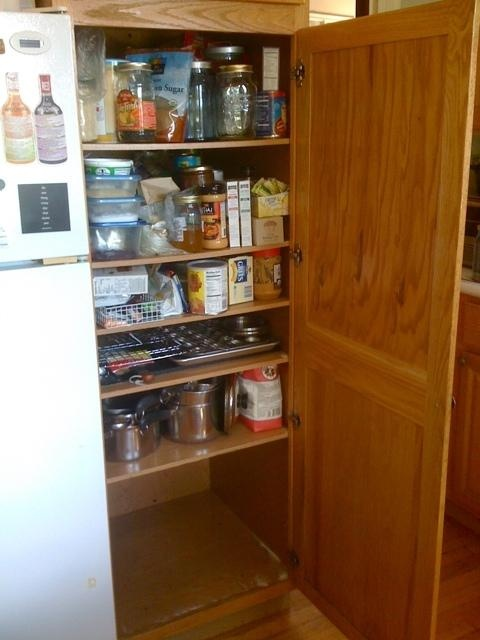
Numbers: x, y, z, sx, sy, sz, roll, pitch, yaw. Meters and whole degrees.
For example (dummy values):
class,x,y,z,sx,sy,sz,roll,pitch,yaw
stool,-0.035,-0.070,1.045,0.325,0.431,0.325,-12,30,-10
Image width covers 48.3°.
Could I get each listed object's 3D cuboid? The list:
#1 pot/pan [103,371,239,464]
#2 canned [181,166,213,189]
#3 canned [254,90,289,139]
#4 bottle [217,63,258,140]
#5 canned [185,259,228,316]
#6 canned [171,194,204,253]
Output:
class,x,y,z,sx,sy,sz,roll,pitch,yaw
pot/pan,-0.198,0.272,1.639,0.427,0.170,0.176,-17,19,-36
canned,-0.122,-0.419,1.558,0.083,0.076,0.085,-9,21,-27
canned,0.072,-0.568,1.498,0.108,0.111,0.062,3,15,26
bottle,-0.014,-0.594,1.478,0.108,0.193,0.116,-2,14,1
canned,-0.096,-0.095,1.535,0.113,0.137,0.121,0,14,3
canned,-0.151,-0.275,1.499,0.102,0.177,0.103,-12,22,-33
